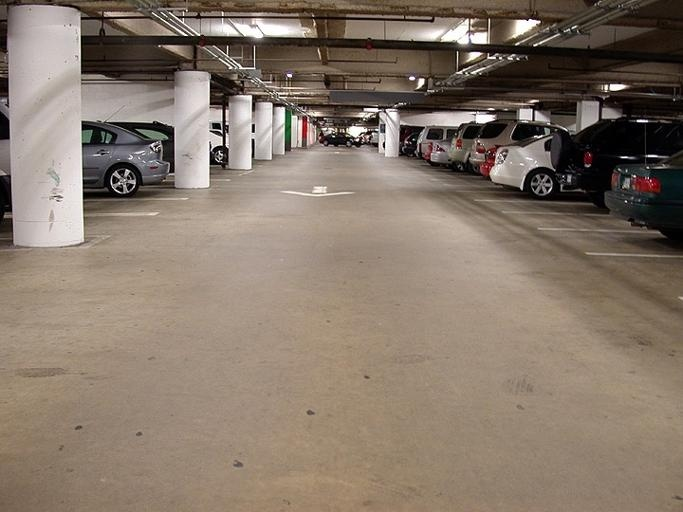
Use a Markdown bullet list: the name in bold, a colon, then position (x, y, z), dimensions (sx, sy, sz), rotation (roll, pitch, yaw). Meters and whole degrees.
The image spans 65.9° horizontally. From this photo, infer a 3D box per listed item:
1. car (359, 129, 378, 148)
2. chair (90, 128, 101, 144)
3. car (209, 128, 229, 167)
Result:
- **car**: position (4.610, -18.780, 84.362), dimensions (2.798, 2.799, 4.281), rotation (-2, 8, -11)
- **chair**: position (-6.819, -3.268, 14.528), dimensions (0.331, 0.348, 0.214), rotation (6, 15, 21)
- **car**: position (-7.180, -6.191, 30.837), dimensions (0.965, 2.016, 4.895), rotation (-3, 15, -13)
